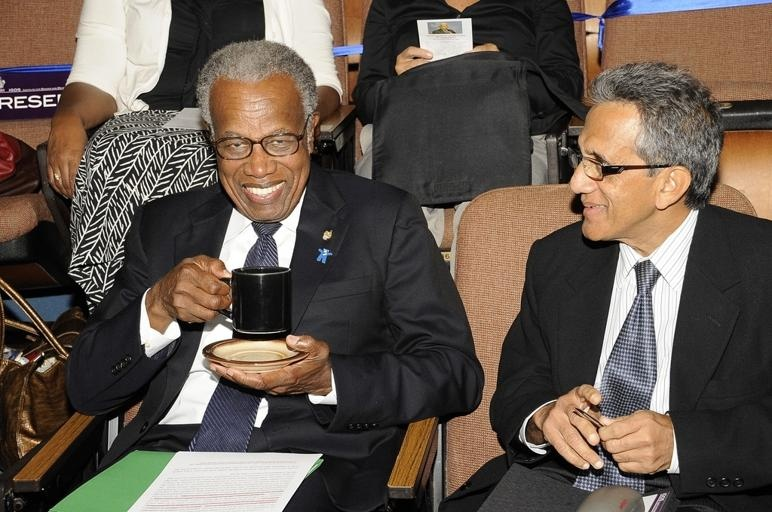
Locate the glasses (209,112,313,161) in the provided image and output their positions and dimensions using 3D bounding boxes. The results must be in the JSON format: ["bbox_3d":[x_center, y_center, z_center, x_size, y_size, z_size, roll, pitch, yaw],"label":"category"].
[{"bbox_3d":[-0.418,-0.390,1.949,0.321,0.134,0.137,-1,15,-6],"label":"glasses"}]

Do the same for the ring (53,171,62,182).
[{"bbox_3d":[-1.663,-0.403,2.942,0.038,0.047,0.025,3,1,9],"label":"ring"}]
